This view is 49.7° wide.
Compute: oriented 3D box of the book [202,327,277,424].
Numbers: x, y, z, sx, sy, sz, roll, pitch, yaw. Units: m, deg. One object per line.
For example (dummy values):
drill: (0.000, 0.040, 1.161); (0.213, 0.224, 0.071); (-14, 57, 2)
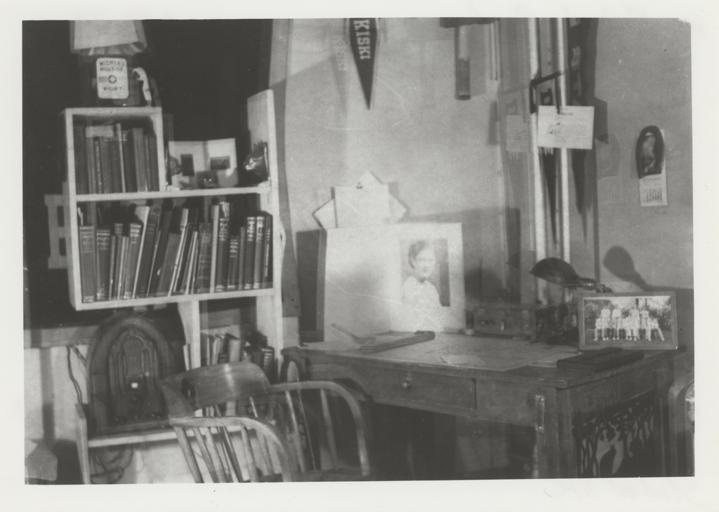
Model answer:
book: (-0.698, 0.622, 4.249); (0.402, 0.565, 0.410); (-2, 4, -16)

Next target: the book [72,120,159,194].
book: (-1.255, -0.484, 4.161); (0.481, 0.482, 0.365); (-2, -2, -16)

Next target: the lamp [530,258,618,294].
lamp: (1.119, 0.101, 4.096); (0.395, 0.173, 0.091); (17, 0, -2)
